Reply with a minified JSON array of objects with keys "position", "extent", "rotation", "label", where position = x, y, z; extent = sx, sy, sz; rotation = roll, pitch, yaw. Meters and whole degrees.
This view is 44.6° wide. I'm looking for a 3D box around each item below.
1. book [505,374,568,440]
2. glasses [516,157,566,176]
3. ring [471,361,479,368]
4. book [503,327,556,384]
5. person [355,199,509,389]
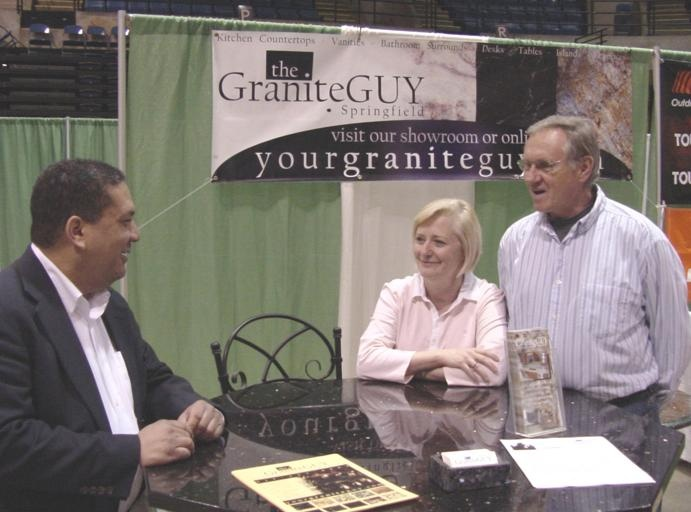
[{"position":[0.731,0.583,3.194],"extent":[0.219,0.301,0.204],"rotation":[-2,1,-6],"label":"book"},{"position":[0.930,-0.403,3.807],"extent":[0.169,0.056,0.168],"rotation":[2,1,-43],"label":"glasses"},{"position":[0.559,0.470,3.607],"extent":[0.025,0.019,0.007],"rotation":[-43,-20,11],"label":"ring"},{"position":[0.700,0.377,3.190],"extent":[0.185,0.204,0.038],"rotation":[-3,3,-10],"label":"book"},{"position":[0.425,0.223,3.800],"extent":[0.655,0.963,0.728],"rotation":[-9,14,-34],"label":"person"}]
